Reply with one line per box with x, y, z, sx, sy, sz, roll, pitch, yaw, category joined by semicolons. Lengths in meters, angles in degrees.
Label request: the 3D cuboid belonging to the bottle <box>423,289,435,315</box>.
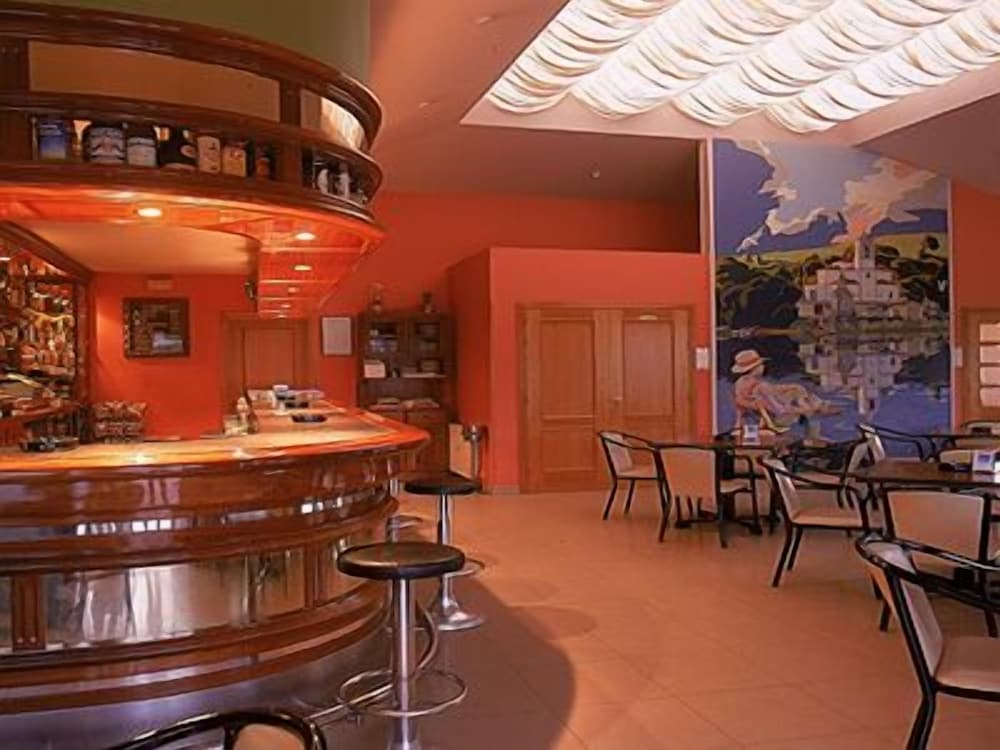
-1.078;-1.115;12.202;0.180;0.416;0.458;1;-5;-5;bottle

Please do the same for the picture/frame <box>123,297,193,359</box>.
-4.673;-0.677;11.107;0.078;0.797;1.051;2;3;27;picture/frame
